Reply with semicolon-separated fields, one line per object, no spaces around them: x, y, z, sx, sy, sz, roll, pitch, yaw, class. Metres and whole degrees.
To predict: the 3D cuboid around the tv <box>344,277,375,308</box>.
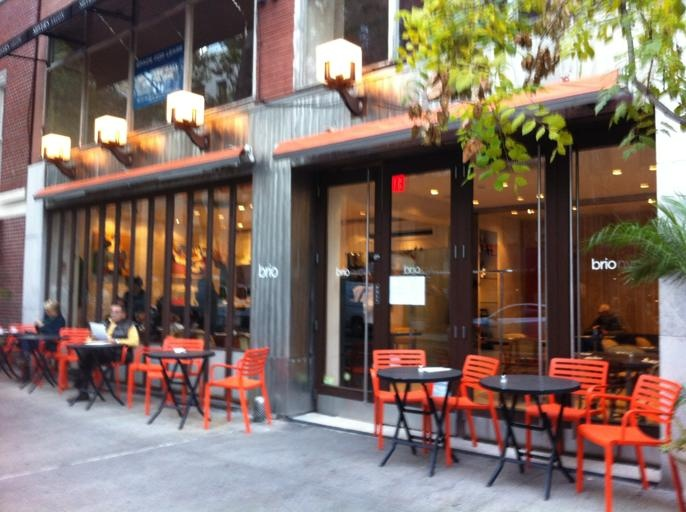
0.297;0.551;9.476;0.287;0.409;0.125;11;0;24;tv

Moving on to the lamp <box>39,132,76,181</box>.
-6.005;-2.115;13.371;0.571;0.936;0.711;0;2;-3;lamp

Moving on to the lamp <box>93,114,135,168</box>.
-4.398;-2.208;12.159;0.497;0.945;0.674;1;2;26;lamp

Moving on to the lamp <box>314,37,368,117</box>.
-0.006;-2.536;9.019;0.699;1.016;0.456;-1;2;-17;lamp
